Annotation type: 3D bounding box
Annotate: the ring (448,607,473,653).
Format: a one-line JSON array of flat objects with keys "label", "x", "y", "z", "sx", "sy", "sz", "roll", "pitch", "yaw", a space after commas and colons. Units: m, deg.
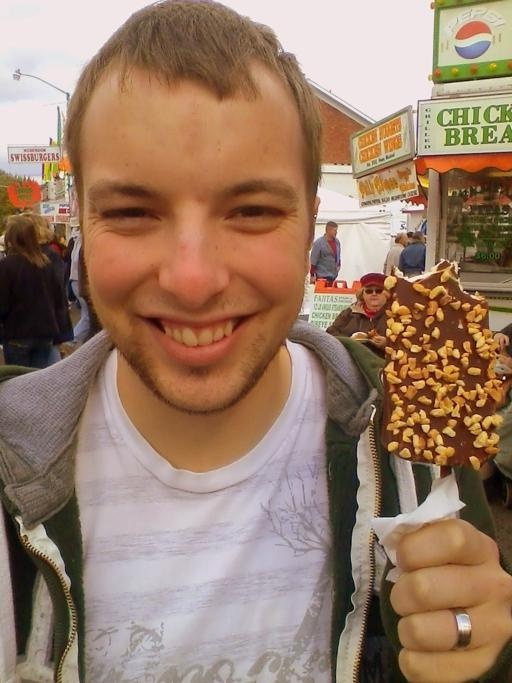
[{"label": "ring", "x": 0.408, "y": 0.584, "z": 1.105, "sx": 0.032, "sy": 0.076, "sz": 0.069, "roll": 2, "pitch": -33, "yaw": 3}]
